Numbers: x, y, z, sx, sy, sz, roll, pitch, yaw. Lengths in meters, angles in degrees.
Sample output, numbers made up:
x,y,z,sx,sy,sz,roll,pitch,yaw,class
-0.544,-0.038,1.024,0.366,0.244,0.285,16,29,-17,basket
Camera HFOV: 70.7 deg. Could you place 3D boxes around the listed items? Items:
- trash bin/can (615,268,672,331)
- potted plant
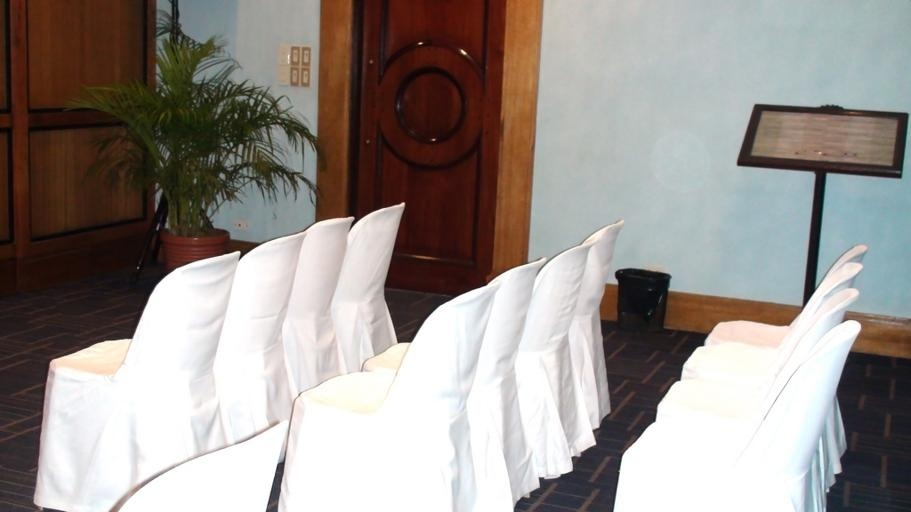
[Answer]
x,y,z,sx,sy,sz,roll,pitch,yaw,class
1.838,0.382,6.476,0.533,0.578,0.556,7,10,25,trash bin/can
-2.519,-1.183,7.192,2.479,2.717,2.569,4,9,25,potted plant
